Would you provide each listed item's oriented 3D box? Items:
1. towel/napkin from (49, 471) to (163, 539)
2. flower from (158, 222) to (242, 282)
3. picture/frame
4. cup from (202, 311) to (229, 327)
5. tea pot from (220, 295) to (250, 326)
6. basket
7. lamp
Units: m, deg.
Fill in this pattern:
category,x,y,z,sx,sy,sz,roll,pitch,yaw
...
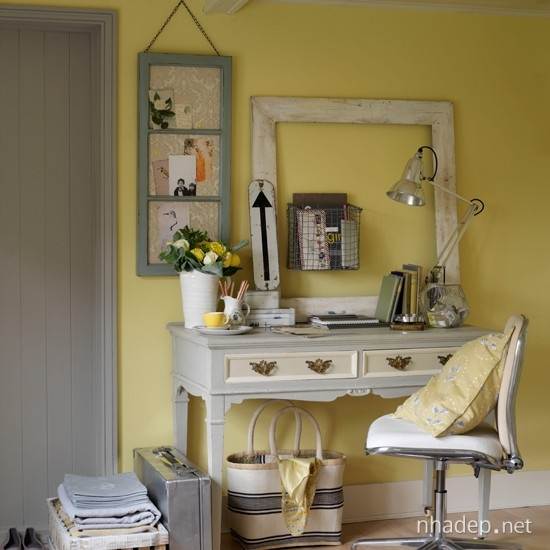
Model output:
category,x,y,z,sx,sy,sz,roll,pitch,yaw
towel/napkin,-0.558,0.783,2.009,0.290,0.104,0.338,2,0,-22
flower,-0.283,-0.089,2.328,0.336,0.192,0.155,0,6,-5
picture/frame,0.320,-0.284,2.598,1.046,1.050,0.048,0,-4,-10
cup,-0.218,0.159,2.166,0.066,0.044,0.052,1,-2,-12
tea pot,-0.149,0.130,2.272,0.120,0.127,0.083,4,-12,-25
basket,0.254,-0.185,2.618,0.344,0.328,0.230,5,14,33
lamp,0.686,-0.184,2.582,0.393,0.776,0.612,3,7,18
